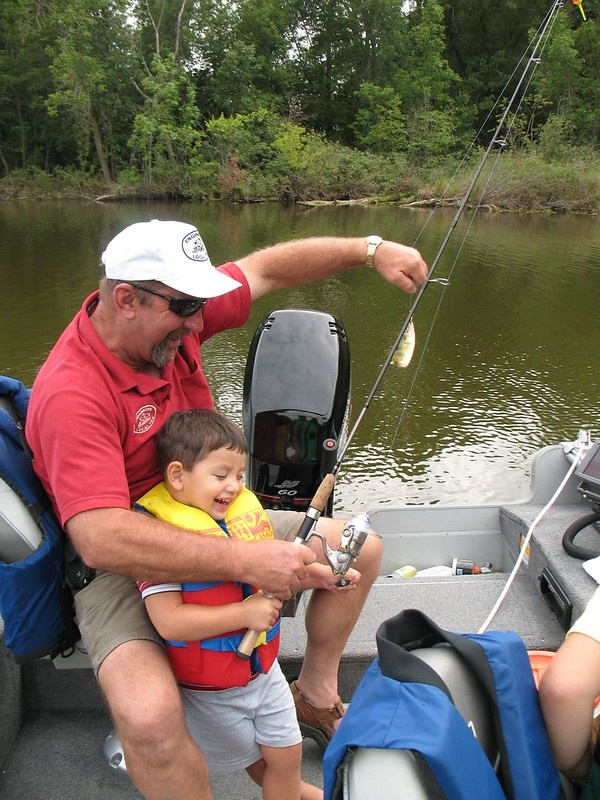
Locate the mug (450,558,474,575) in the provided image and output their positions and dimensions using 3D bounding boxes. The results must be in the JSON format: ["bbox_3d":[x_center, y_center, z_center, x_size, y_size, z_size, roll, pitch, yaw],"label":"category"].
[{"bbox_3d":[0.552,0.563,2.319,0.080,0.053,0.051,3,-6,10],"label":"mug"}]

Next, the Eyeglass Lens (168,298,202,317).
[{"bbox_3d":[-0.235,-0.194,1.439,0.047,0.013,0.044,21,18,26],"label":"Eyeglass Lens"}]

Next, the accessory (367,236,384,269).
[{"bbox_3d":[0.217,-0.431,2.015,0.056,0.085,0.089,5,47,12],"label":"accessory"}]

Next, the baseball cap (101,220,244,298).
[{"bbox_3d":[-0.271,-0.312,1.491,0.296,0.131,0.184,12,22,21],"label":"baseball cap"}]

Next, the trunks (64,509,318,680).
[{"bbox_3d":[-0.223,0.376,1.349,0.413,0.421,0.133,-5,5,-6],"label":"trunks"}]
